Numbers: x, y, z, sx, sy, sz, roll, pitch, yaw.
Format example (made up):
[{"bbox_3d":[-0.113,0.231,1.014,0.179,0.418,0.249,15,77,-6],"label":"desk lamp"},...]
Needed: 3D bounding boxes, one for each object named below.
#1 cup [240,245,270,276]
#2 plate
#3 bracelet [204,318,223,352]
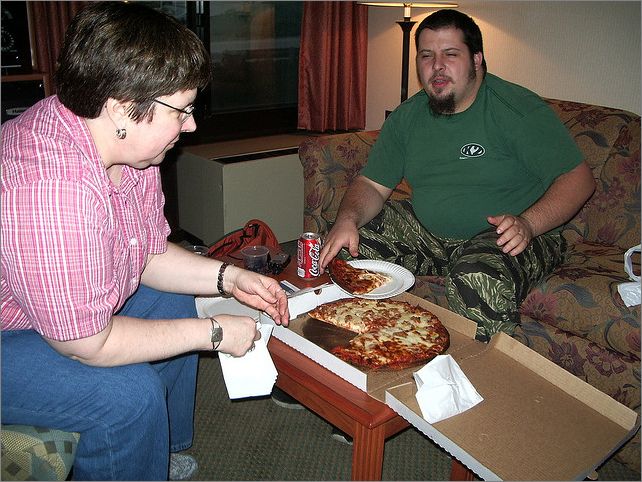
[{"bbox_3d":[-0.273,0.071,2.056,0.119,0.093,0.109,1,23,0],"label":"cup"},{"bbox_3d":[0.229,0.138,1.865,0.179,0.020,0.179,-3,30,-8],"label":"plate"},{"bbox_3d":[-0.311,0.269,1.432,0.079,0.089,0.021,4,-4,-18],"label":"bracelet"}]
